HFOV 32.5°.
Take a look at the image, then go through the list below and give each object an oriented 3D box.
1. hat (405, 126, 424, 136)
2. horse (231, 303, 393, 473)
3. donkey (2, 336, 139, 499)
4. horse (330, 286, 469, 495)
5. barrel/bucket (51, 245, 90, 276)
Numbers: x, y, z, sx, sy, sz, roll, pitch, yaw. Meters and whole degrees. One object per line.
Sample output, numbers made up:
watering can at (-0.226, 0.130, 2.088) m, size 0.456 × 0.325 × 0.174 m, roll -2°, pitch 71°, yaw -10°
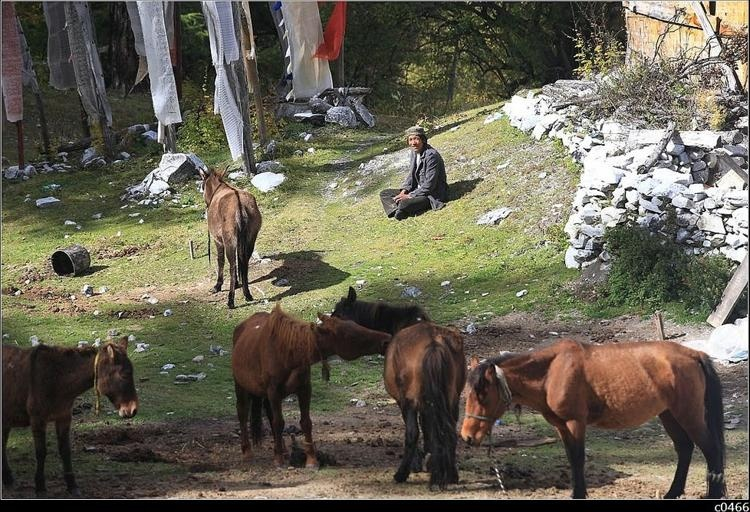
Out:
hat at (0.976, -3.052, 31.739) m, size 0.312 × 0.172 × 0.320 m, roll -6°, pitch -2°, yaw 22°
horse at (-1.576, 2.531, 25.023) m, size 1.630 × 3.301 × 4.494 m, roll -4°, pitch 1°, yaw -34°
donkey at (-6.009, 2.953, 24.073) m, size 3.574 × 2.788 × 3.197 m, roll 4°, pitch -2°, yaw 10°
horse at (0.673, 2.646, 24.558) m, size 1.987 × 3.293 × 1.156 m, roll 4°, pitch 10°, yaw 38°
barrel/bucket at (-7.366, 0.206, 31.392) m, size 0.749 × 0.791 × 0.809 m, roll -9°, pitch 8°, yaw 1°
